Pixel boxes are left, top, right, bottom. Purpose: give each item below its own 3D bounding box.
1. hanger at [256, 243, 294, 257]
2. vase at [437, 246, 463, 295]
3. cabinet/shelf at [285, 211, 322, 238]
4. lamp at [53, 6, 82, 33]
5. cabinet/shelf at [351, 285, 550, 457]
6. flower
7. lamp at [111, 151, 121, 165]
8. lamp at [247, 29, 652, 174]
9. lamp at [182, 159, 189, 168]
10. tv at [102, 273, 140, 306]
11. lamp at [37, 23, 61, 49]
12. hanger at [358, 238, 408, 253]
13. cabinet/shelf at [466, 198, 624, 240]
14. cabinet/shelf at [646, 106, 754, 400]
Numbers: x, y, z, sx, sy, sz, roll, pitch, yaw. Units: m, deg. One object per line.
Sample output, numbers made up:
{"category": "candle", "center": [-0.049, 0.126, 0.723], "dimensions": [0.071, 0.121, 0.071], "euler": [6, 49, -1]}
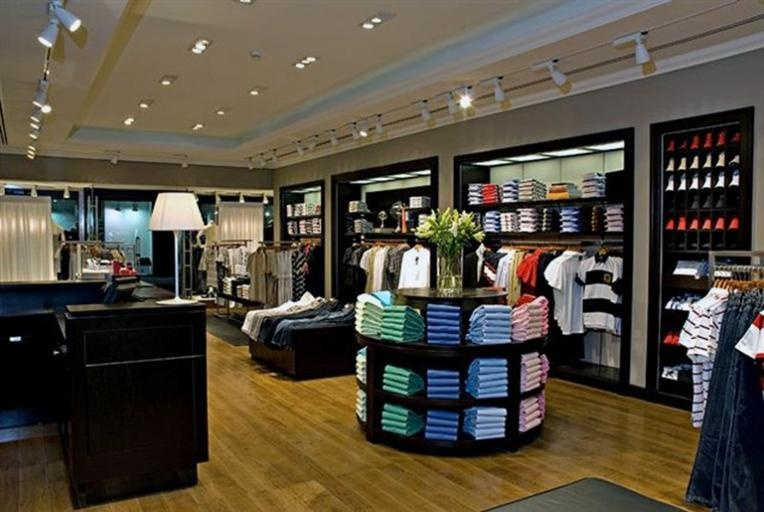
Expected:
{"category": "hanger", "center": [-2.520, -0.066, 12.090], "dimensions": [0.780, 0.283, 0.496], "euler": [-2, 6, -11]}
{"category": "vase", "center": [0.792, 0.165, 5.832], "dimensions": [0.342, 0.546, 0.348], "euler": [1, -2, 10]}
{"category": "cabinet/shelf", "center": [-1.894, -0.736, 12.602], "dimensions": [0.463, 0.701, 1.792], "euler": [-6, 11, -28]}
{"category": "lamp", "center": [-2.766, -2.077, 4.525], "dimensions": [0.295, 0.204, 0.101], "euler": [8, 13, 41]}
{"category": "cabinet/shelf", "center": [0.827, 1.081, 5.449], "dimensions": [1.711, 1.139, 1.638], "euler": [-2, 3, -45]}
{"category": "flower", "center": [0.785, -0.105, 5.823], "dimensions": [0.639, 0.728, 0.678], "euler": [-2, 12, -9]}
{"category": "lamp", "center": [-5.914, -2.161, 11.462], "dimensions": [0.256, 0.339, 0.104], "euler": [-5, -20, 11]}
{"category": "lamp", "center": [1.435, -2.264, 7.455], "dimensions": [0.638, 0.204, 4.095], "euler": [25, -19, -38]}
{"category": "lamp", "center": [-4.575, -2.160, 11.995], "dimensions": [0.151, 0.155, 0.261], "euler": [9, 5, -17]}
{"category": "tv", "center": [-2.635, 0.327, 5.226], "dimensions": [0.336, 0.186, 0.522], "euler": [-1, -1, -31]}
{"category": "lamp", "center": [-2.974, -2.002, 4.628], "dimensions": [0.134, 0.267, 0.299], "euler": [-5, 11, -26]}
{"category": "hanger", "center": [0.046, -0.232, 10.336], "dimensions": [0.517, 0.260, 1.286], "euler": [-9, 13, -43]}
{"category": "cabinet/shelf", "center": [2.457, -0.592, 7.715], "dimensions": [2.229, 0.610, 0.381], "euler": [8, 13, 41]}
{"category": "cabinet/shelf", "center": [3.929, 0.081, 6.382], "dimensions": [1.151, 3.480, 0.359], "euler": [-7, 10, 3]}
